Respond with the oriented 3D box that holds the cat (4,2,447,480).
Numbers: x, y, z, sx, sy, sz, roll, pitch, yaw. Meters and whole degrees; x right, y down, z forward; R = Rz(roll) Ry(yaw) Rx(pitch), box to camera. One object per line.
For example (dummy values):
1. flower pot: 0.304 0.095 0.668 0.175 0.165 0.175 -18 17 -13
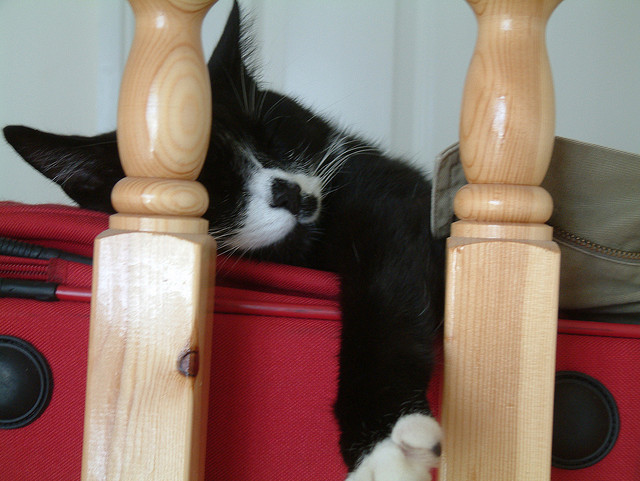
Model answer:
1. cat: -0.157 0.014 1.029 0.712 0.299 0.576 -1 -22 45
